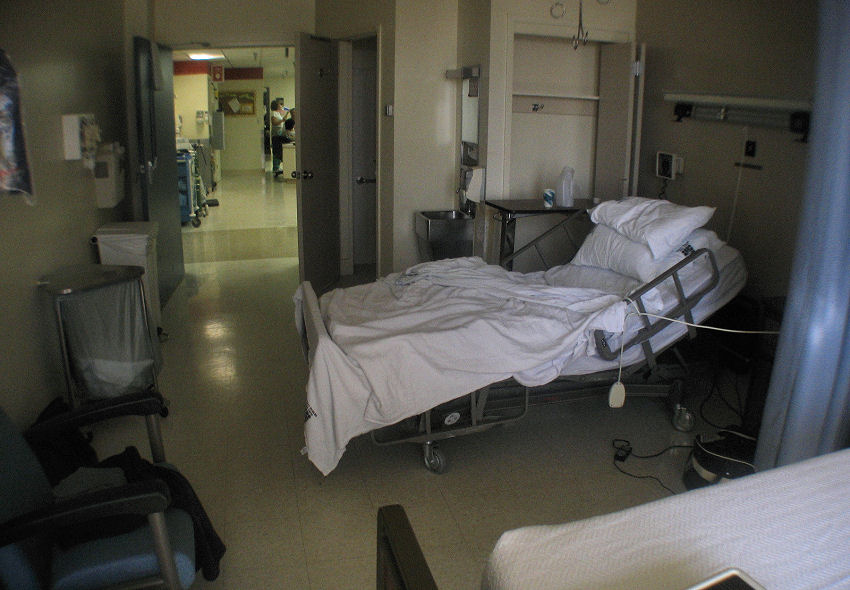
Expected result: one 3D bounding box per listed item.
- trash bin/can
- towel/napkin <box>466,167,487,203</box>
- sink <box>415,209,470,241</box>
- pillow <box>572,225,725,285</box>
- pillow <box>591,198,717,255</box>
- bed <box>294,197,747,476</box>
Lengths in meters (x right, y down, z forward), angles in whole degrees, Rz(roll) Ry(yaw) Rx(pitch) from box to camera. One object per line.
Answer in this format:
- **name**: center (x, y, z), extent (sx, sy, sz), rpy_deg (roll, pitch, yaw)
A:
- **trash bin/can**: center (-1.967, 0.246, 4.035), extent (0.590, 0.750, 0.556), rpy_deg (-11, 16, -30)
- **towel/napkin**: center (0.437, -0.989, 5.815), extent (0.165, 0.304, 0.385), rpy_deg (-6, 14, -13)
- **sink**: center (0.196, -0.643, 6.020), extent (0.334, 0.190, 0.463), rpy_deg (0, 10, -11)
- **pillow**: center (1.342, -0.277, 4.390), extent (0.555, 0.169, 0.493), rpy_deg (-31, 25, -32)
- **pillow**: center (1.481, -0.492, 4.415), extent (0.430, 0.203, 0.660), rpy_deg (-22, 15, -15)
- **bed**: center (0.646, 0.454, 4.403), extent (2.649, 1.383, 1.651), rpy_deg (-9, 22, -8)
